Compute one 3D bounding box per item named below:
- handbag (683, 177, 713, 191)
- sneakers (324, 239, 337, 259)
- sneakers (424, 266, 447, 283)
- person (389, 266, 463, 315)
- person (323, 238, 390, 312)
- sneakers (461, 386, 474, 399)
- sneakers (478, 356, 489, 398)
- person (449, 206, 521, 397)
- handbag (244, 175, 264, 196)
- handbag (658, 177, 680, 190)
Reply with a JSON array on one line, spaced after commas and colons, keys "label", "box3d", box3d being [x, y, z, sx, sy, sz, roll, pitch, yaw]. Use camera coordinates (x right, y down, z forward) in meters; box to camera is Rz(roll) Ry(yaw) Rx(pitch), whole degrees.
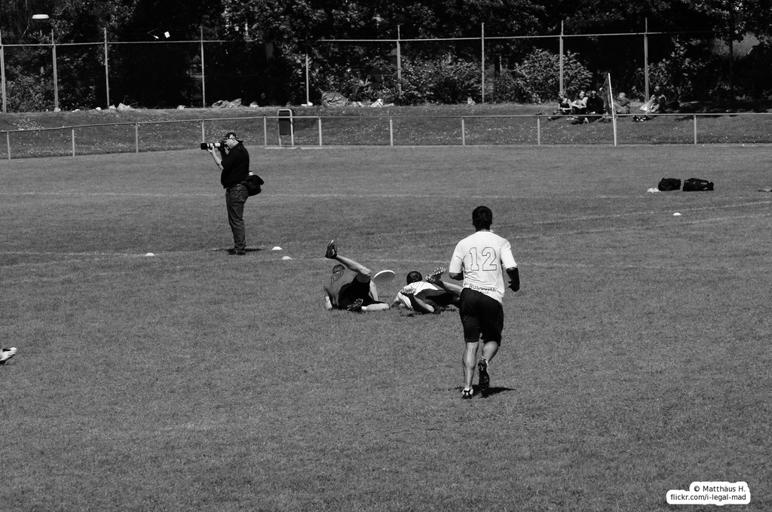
[{"label": "handbag", "box3d": [10.838, -2.464, 27.911, 0.962, 0.431, 0.559, 0, 10, 23]}, {"label": "sneakers", "box3d": [-0.920, -0.123, 13.186, 0.152, 0.247, 0.507, 4, 13, 2]}, {"label": "sneakers", "box3d": [0.860, 0.303, 13.477, 0.205, 0.203, 0.500, 25, -21, -14]}, {"label": "person", "box3d": [0.697, 0.644, 13.737, 1.078, 0.733, 1.805, -17, 1, -5]}, {"label": "person", "box3d": [-0.549, 0.293, 13.764, 1.144, 1.353, 1.090, -7, 9, -26]}, {"label": "sneakers", "box3d": [1.053, 1.764, 10.335, 0.113, 0.159, 0.314, -1, -8, 8]}, {"label": "sneakers", "box3d": [1.271, 1.556, 10.341, 0.162, 0.510, 0.222, 1, 29, 18]}, {"label": "person", "box3d": [1.246, 0.614, 10.253, 0.817, 2.454, 0.420, -3, 7, 4]}, {"label": "handbag", "box3d": [-3.043, -1.644, 18.312, 0.412, 0.613, 0.469, 5, 7, 32]}, {"label": "handbag", "box3d": [10.055, -2.534, 28.373, 0.925, 0.414, 0.433, -7, 9, -15]}]
